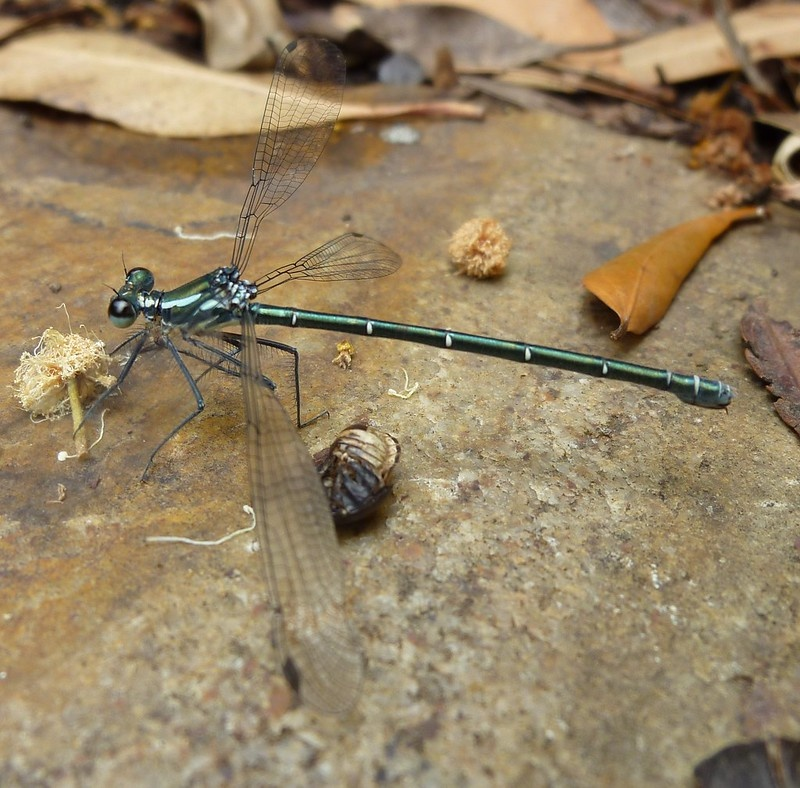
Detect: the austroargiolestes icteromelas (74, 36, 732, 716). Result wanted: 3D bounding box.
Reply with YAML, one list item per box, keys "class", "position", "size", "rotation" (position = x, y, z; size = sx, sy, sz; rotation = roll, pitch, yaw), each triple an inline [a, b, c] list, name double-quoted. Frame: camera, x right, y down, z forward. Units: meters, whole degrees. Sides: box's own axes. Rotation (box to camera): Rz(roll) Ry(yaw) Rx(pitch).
- class: "austroargiolestes icteromelas"
  position: [-0.252, -0.180, 2.725]
  size: [1.676, 0.526, 1.958]
  rotation: [-37, 62, -28]

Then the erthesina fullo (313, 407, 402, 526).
- class: "erthesina fullo"
  position: [-0.126, 0.219, 2.434]
  size: [0.216, 0.135, 0.267]
  rotation: [8, 52, 2]
